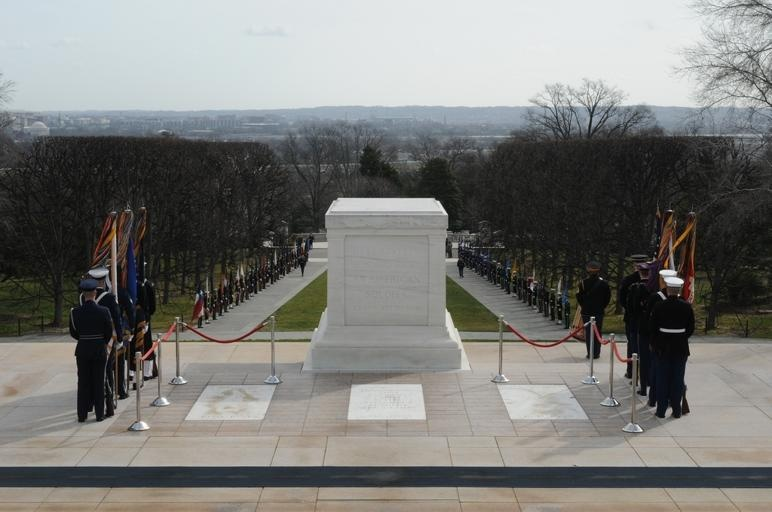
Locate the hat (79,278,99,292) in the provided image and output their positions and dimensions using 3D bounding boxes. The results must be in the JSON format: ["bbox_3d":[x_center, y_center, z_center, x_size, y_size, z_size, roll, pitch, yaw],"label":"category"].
[{"bbox_3d":[-5.559,0.563,19.349,0.299,0.243,0.289,-6,13,-18],"label":"hat"}]

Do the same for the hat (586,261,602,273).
[{"bbox_3d":[4.520,0.247,22.699,0.281,0.182,0.261,2,7,15],"label":"hat"}]
